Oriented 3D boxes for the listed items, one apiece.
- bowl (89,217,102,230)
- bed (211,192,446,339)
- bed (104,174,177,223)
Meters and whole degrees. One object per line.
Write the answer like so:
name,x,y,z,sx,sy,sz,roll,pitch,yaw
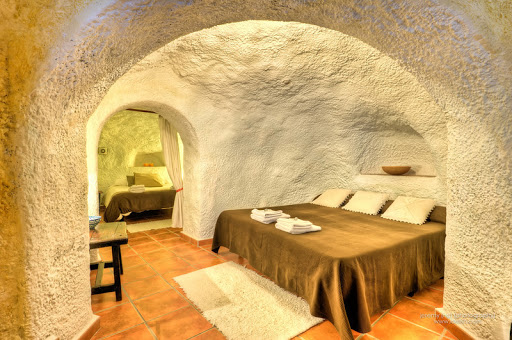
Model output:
bowl,-1.714,0.550,3.127,0.167,0.080,0.156,-1,0,0
bed,0.508,0.829,2.993,1.531,0.359,1.468,-3,6,-38
bed,-2.496,0.704,6.318,1.461,0.645,1.203,-4,9,-31
